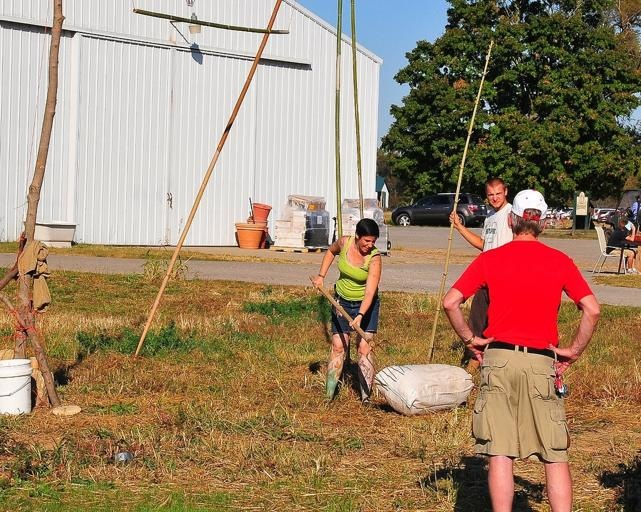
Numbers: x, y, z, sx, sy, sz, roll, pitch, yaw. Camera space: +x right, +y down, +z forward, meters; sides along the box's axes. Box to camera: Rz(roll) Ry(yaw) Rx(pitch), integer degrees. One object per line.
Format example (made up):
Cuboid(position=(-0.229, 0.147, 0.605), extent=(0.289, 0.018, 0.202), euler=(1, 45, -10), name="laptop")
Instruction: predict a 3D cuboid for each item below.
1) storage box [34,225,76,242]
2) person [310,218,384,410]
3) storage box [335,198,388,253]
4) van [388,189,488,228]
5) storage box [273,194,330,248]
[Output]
Cuboid(position=(-6.947, -0.634, 28.844), extent=(1.020, 0.567, 0.550), euler=(-3, 12, -15), name="storage box")
Cuboid(position=(0.381, 0.699, 14.537), extent=(0.773, 2.501, 0.906), euler=(0, 11, 0), name="person")
Cuboid(position=(1.158, -0.862, 30.007), extent=(0.867, 1.084, 1.741), euler=(1, 7, 14), name="storage box")
Cuboid(position=(5.076, -1.938, 47.097), extent=(3.761, 1.625, 1.895), euler=(3, 3, 24), name="van")
Cuboid(position=(-0.638, -0.983, 31.414), extent=(1.361, 1.564, 1.458), euler=(1, 3, 18), name="storage box")
